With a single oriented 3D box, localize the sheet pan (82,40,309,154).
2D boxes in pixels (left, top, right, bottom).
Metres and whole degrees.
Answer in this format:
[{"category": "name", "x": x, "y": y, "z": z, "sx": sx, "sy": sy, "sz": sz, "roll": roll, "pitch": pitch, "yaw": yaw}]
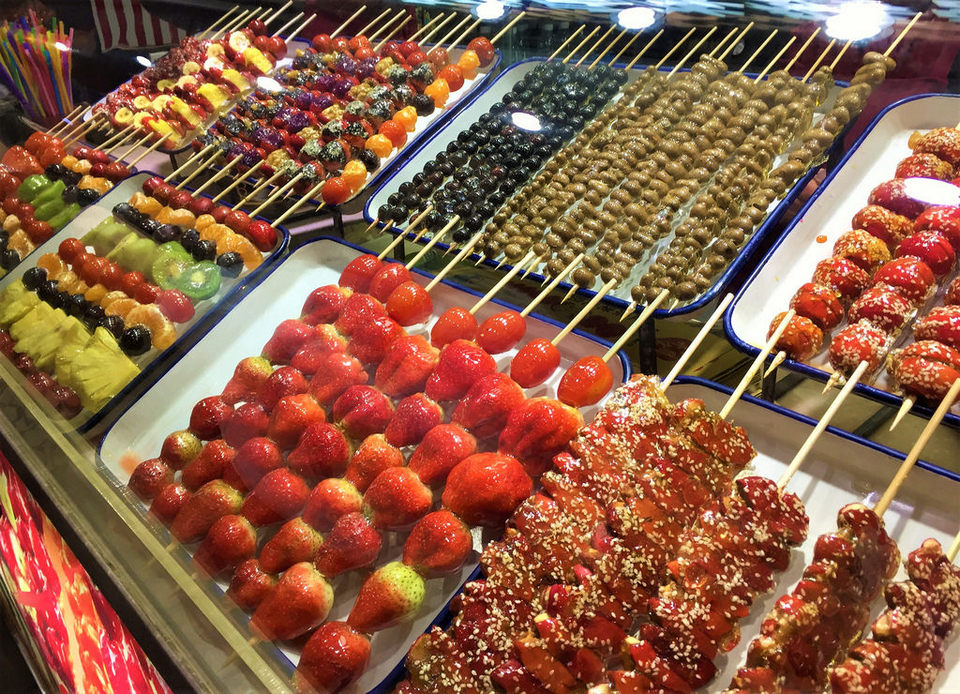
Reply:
[{"category": "sheet pan", "x": -1.547, "y": -1.451, "z": 4.320, "sx": 0.564, "sy": 0.878, "sz": 0.269, "roll": 26, "pitch": -30, "yaw": 39}]
